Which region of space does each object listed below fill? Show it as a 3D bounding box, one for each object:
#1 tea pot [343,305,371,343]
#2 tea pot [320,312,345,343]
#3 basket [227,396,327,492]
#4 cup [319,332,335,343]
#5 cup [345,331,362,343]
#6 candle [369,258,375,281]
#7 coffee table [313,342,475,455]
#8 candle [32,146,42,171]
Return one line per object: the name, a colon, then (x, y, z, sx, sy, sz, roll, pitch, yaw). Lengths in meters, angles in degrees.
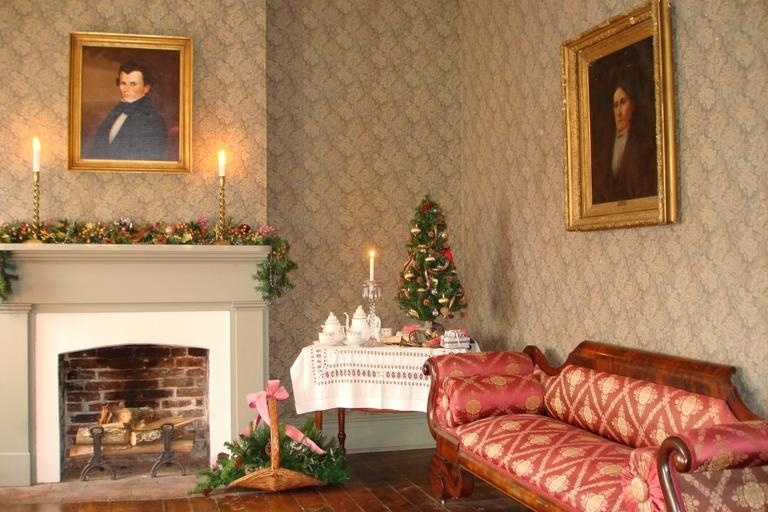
tea pot: (-0.192, 0.590, 5.593, 0.296, 0.315, 0.202, 2, -4, 8)
tea pot: (-0.418, 0.613, 5.521, 0.166, 0.253, 0.254, 0, -8, 1)
basket: (-0.806, 1.417, 5.221, 0.695, 0.692, 0.726, 1, -11, -6)
cup: (-0.469, 0.649, 5.377, 0.087, 0.059, 0.088, 0, -5, 0)
cup: (-0.244, 0.656, 5.429, 0.108, 0.084, 0.104, -2, 0, 0)
candle: (-0.101, 0.104, 5.482, 0.024, 0.188, 0.044, 0, 4, 14)
coffee table: (-0.196, 1.049, 5.624, 1.515, 0.756, 1.007, 0, -5, -6)
candle: (-2.816, -0.811, 5.381, 0.070, 0.283, 0.294, -3, 4, -27)
